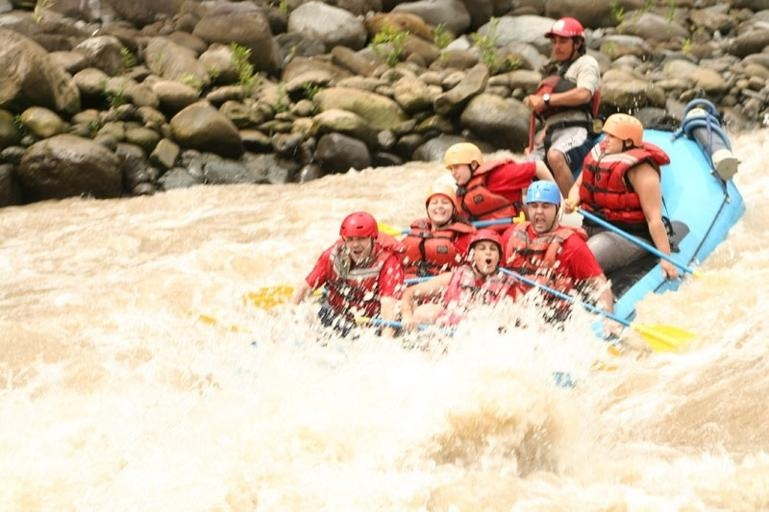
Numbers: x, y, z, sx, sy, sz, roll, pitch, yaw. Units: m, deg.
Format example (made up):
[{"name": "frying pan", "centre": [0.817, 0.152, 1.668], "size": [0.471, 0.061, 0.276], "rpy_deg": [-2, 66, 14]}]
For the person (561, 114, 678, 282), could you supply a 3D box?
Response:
[{"name": "person", "centre": [2.603, -0.575, 10.614], "size": [0.969, 1.874, 1.205], "rpy_deg": [11, 9, -21]}]

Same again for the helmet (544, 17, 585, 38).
[{"name": "helmet", "centre": [2.196, -2.711, 11.488], "size": [0.362, 0.214, 0.273], "rpy_deg": [7, 5, -32]}]

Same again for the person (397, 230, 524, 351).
[{"name": "person", "centre": [0.813, 0.317, 9.929], "size": [0.835, 0.510, 1.275], "rpy_deg": [18, 72, 15]}]

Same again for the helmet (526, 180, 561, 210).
[{"name": "helmet", "centre": [1.706, -0.680, 10.140], "size": [0.223, 0.251, 0.314], "rpy_deg": [11, 25, 18]}]

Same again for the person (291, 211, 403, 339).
[{"name": "person", "centre": [-0.408, 0.252, 10.448], "size": [0.649, 1.274, 0.633], "rpy_deg": [22, 33, 17]}]

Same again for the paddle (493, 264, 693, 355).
[{"name": "paddle", "centre": [2.096, 0.583, 9.920], "size": [1.397, 0.222, 0.121], "rpy_deg": [30, 71, 4]}]

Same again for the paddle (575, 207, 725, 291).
[{"name": "paddle", "centre": [2.894, -0.053, 10.409], "size": [1.148, 0.133, 0.123], "rpy_deg": [42, 44, 13]}]

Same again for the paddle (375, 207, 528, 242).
[{"name": "paddle", "centre": [0.808, -0.348, 10.858], "size": [1.086, 0.258, 0.172], "rpy_deg": [-8, 36, -5]}]

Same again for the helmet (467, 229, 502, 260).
[{"name": "helmet", "centre": [1.067, -0.135, 9.980], "size": [0.225, 0.379, 0.274], "rpy_deg": [2, -1, 5]}]

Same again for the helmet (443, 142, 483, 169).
[{"name": "helmet", "centre": [0.905, -1.182, 11.115], "size": [0.344, 0.229, 0.280], "rpy_deg": [-25, 9, -18]}]

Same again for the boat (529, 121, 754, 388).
[{"name": "boat", "centre": [3.125, -0.177, 10.617], "size": [1.803, 0.626, 3.178], "rpy_deg": [30, 76, 37]}]

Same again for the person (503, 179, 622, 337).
[{"name": "person", "centre": [1.913, 0.067, 10.135], "size": [1.028, 0.543, 1.825], "rpy_deg": [-11, 69, 19]}]
